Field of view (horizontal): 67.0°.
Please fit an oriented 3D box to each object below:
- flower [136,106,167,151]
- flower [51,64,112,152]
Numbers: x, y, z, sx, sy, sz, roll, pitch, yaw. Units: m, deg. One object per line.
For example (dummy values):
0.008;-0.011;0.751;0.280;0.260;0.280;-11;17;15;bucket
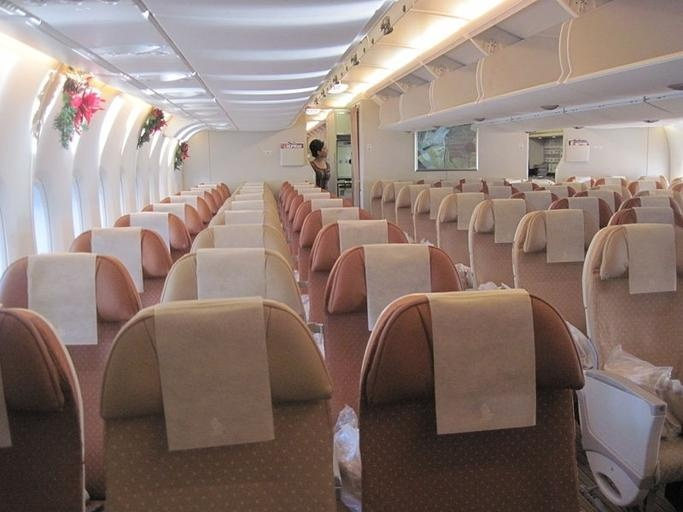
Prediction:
-3.283;-2.215;8.903;0.366;0.643;0.716;2;10;12;flower
-2.711;-1.490;5.131;0.401;0.524;0.522;7;7;44;flower
